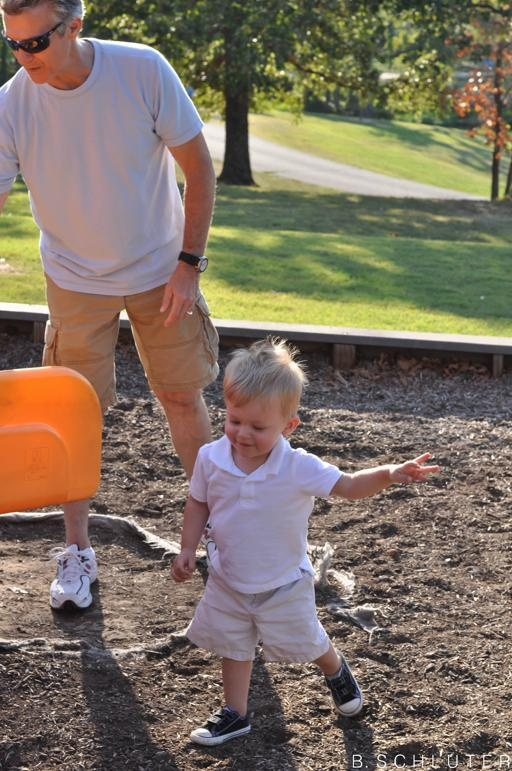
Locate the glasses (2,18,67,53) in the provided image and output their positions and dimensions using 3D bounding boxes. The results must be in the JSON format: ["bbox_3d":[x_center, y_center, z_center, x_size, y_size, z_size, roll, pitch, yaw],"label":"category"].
[{"bbox_3d":[-0.570,-0.915,2.720,0.108,0.031,0.105,8,44,32],"label":"glasses"}]

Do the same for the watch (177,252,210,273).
[{"bbox_3d":[-0.172,-0.357,3.104,0.083,0.049,0.086,17,1,20],"label":"watch"}]

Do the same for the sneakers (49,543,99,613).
[{"bbox_3d":[-0.545,0.576,3.186,0.097,0.095,0.224,1,12,-3],"label":"sneakers"}]

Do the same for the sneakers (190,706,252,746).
[{"bbox_3d":[-0.090,0.853,2.654,0.170,0.069,0.060,-7,20,-27],"label":"sneakers"}]

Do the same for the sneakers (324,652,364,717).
[{"bbox_3d":[0.228,0.774,2.804,0.069,0.172,0.069,-22,-24,10],"label":"sneakers"}]

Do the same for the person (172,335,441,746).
[{"bbox_3d":[0.069,0.386,2.681,0.551,0.984,0.275,1,12,-4],"label":"person"}]
